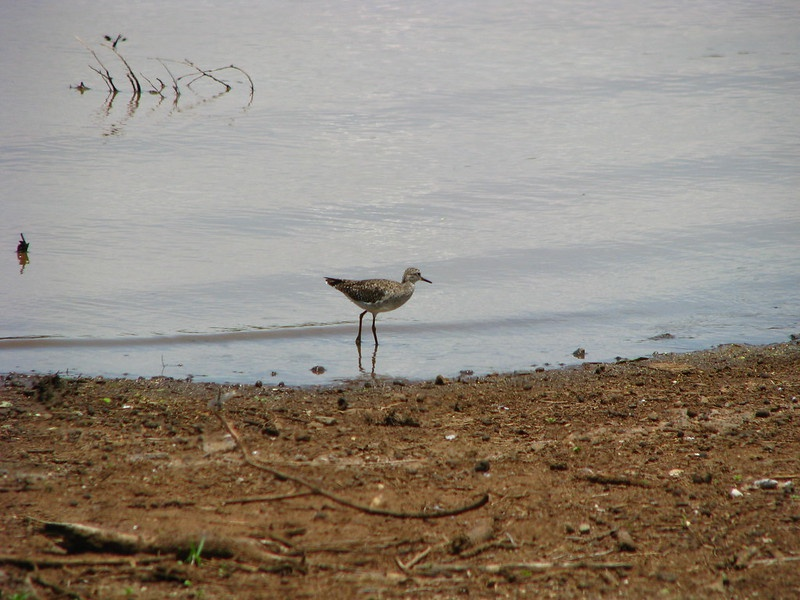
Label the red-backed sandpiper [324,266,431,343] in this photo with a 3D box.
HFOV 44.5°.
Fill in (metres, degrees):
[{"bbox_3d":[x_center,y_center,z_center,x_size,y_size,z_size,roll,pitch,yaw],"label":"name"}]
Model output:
[{"bbox_3d":[-0.472,0.165,20.155,3.050,1.142,0.733,3,9,14],"label":"red-backed sandpiper"}]
